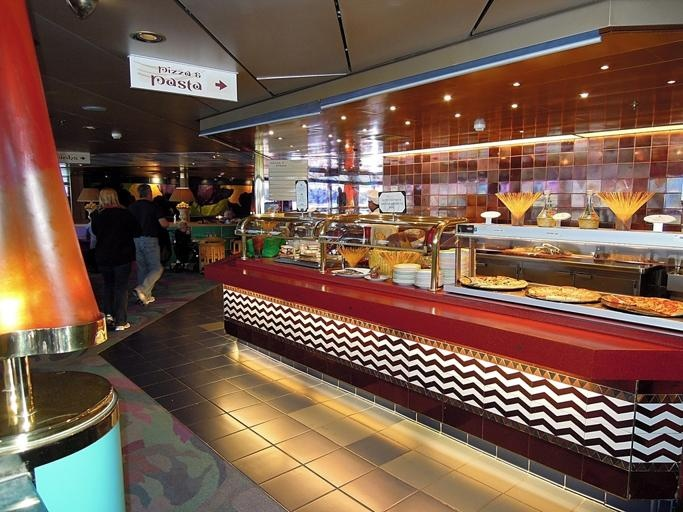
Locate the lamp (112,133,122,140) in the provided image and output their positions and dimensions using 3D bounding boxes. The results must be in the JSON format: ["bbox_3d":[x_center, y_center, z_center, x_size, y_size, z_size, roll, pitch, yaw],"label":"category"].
[{"bbox_3d":[-4.332,-2.312,8.848,0.189,0.114,0.176,3,6,8],"label":"lamp"}]

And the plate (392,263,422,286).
[{"bbox_3d":[0.551,0.156,3.992,0.209,0.119,0.194,0,2,4],"label":"plate"}]

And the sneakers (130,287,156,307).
[{"bbox_3d":[-3.390,0.695,7.830,0.245,0.183,0.494,-6,0,-4],"label":"sneakers"}]

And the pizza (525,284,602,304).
[{"bbox_3d":[1.624,0.268,3.373,0.495,0.050,0.451,5,11,30],"label":"pizza"}]

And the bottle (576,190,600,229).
[{"bbox_3d":[1.746,-0.332,3.242,0.116,0.261,0.363,4,11,27],"label":"bottle"}]

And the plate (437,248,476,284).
[{"bbox_3d":[0.901,0.081,3.777,0.309,0.289,0.288,0,2,-3],"label":"plate"}]

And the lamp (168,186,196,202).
[{"bbox_3d":[-4.403,-1.667,12.618,0.648,0.378,0.604,-7,15,-27],"label":"lamp"}]

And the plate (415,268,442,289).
[{"bbox_3d":[0.692,0.192,3.861,0.091,0.158,0.202,-8,13,-35],"label":"plate"}]
